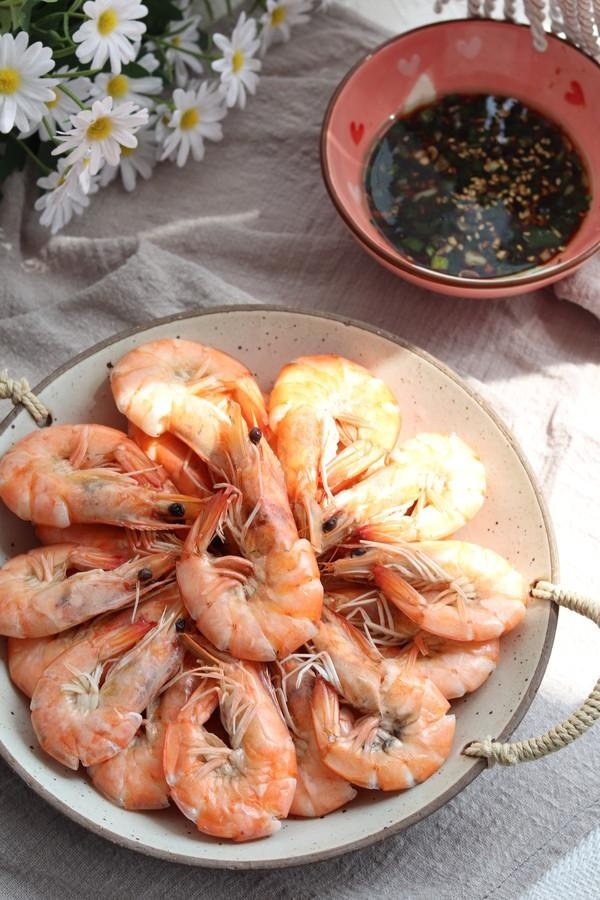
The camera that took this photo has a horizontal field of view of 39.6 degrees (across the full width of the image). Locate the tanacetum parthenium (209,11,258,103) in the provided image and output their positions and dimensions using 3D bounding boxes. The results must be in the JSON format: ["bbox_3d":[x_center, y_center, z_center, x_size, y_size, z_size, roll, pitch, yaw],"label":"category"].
[{"bbox_3d":[-0.105,-0.694,1.483,0.049,0.165,0.135,-33,90,-5],"label":"tanacetum parthenium"}]
